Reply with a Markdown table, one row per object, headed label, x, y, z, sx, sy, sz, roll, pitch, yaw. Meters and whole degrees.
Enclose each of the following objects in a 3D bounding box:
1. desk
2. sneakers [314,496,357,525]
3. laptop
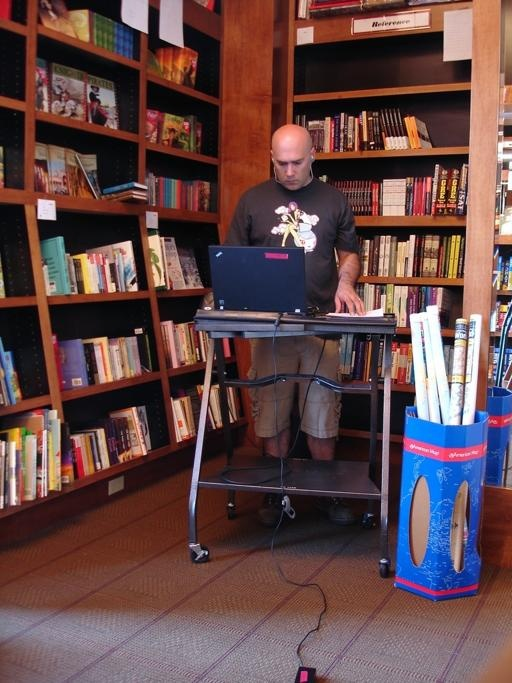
| label | x | y | z | sx | sy | sz | roll | pitch | yaw |
| --- | --- | --- | --- | --- | --- | --- | --- | --- | --- |
| desk | 0.133 | 0.309 | 2.408 | 1.000 | 1.111 | 0.824 | 0 | 2 | 13 |
| sneakers | 0.347 | 0.732 | 2.422 | 0.075 | 0.113 | 0.189 | -10 | 4 | -29 |
| laptop | 0.008 | -0.206 | 1.790 | 0.326 | 0.220 | 0.226 | 2 | 24 | 9 |
